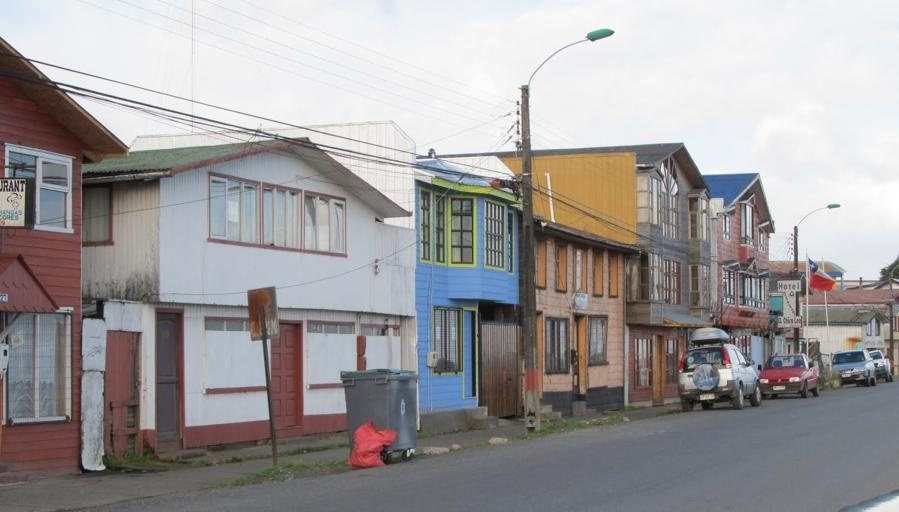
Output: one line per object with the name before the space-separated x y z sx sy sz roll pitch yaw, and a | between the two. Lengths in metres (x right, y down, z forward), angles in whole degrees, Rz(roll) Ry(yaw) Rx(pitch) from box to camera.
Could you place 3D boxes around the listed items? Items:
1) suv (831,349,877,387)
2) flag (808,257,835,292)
suv | 24.360 6.693 65.706 1.679 1.388 3.398 -4 -12 20
flag | 26.543 1.492 78.014 2.984 2.887 0.406 17 -29 -32
